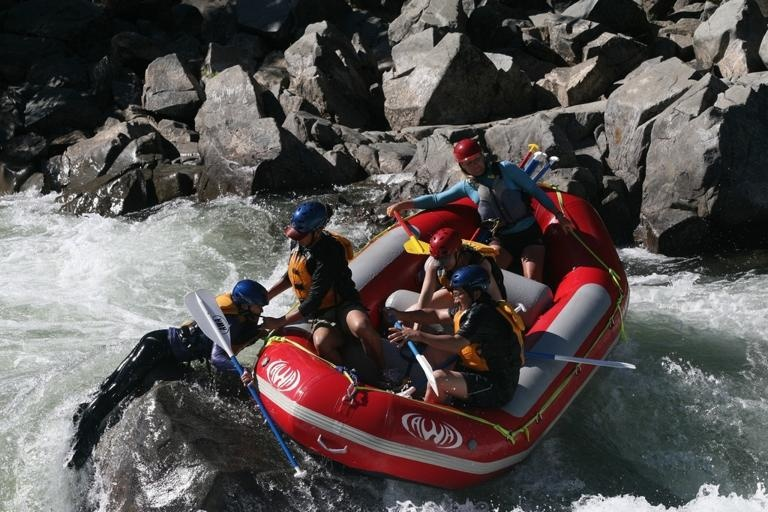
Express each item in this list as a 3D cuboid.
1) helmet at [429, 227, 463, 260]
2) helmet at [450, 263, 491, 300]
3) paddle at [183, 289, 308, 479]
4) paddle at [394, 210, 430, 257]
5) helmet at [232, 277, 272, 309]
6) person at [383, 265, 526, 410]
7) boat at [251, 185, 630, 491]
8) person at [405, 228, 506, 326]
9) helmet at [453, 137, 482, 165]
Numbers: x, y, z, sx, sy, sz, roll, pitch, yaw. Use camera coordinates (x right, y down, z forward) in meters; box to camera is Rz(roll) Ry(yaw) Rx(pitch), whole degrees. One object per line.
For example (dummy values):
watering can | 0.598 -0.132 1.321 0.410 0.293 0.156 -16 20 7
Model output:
helmet | 0.744 -0.167 10.840 0.414 0.200 0.303 -37 70 -3
helmet | 1.046 0.275 10.412 0.398 0.311 0.331 19 81 -7
paddle | -1.720 1.614 10.789 0.399 0.226 2.685 -31 63 -14
paddle | 0.424 -0.355 11.925 0.118 1.095 0.368 10 100 -14
helmet | -1.710 0.462 11.155 0.399 0.299 0.337 31 98 -6
person | 1.050 1.008 10.555 1.252 0.805 1.498 1 73 10
boat | 0.972 0.794 12.248 3.787 2.201 5.947 20 41 29
person | 0.868 0.143 11.030 0.908 0.405 1.193 20 50 31
helmet | 1.114 -1.456 11.852 0.282 0.295 0.391 -23 40 6
